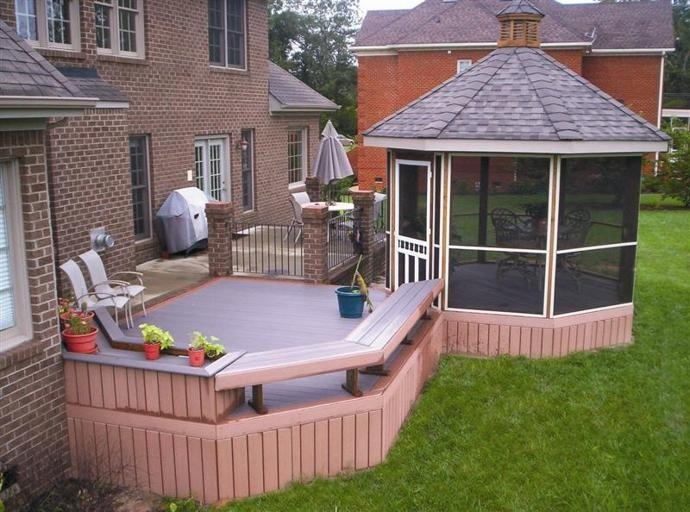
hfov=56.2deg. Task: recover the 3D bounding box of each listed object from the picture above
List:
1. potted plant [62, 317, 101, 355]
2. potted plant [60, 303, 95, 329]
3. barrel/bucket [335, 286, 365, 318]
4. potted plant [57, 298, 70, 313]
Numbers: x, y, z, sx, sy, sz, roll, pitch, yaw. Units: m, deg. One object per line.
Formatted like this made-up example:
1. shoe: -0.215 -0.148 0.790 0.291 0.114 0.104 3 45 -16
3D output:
1. potted plant: -3.324 0.988 8.051 0.419 0.340 0.442 -1 -4 -17
2. potted plant: -3.459 0.790 8.271 0.382 0.175 0.440 2 2 -9
3. barrel/bucket: 0.033 0.736 10.695 0.479 0.362 0.477 -1 6 0
4. potted plant: -3.761 0.666 8.593 0.117 0.220 0.222 -1 0 27
